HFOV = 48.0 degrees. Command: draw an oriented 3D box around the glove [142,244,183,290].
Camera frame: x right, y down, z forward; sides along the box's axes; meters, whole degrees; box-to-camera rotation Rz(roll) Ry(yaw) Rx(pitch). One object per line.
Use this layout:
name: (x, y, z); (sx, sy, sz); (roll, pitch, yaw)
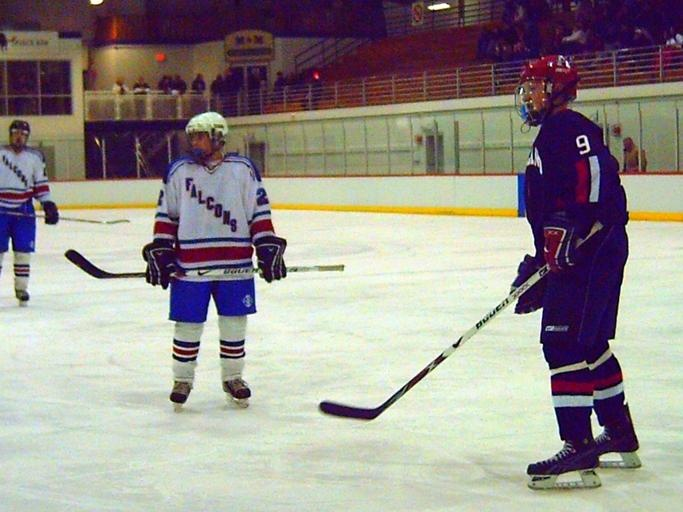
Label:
glove: (-0.984, 0.049, 4.202); (0.208, 0.238, 0.104); (5, 6, -13)

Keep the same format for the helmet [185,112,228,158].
helmet: (-0.761, -0.663, 4.292); (0.276, 0.245, 0.229); (4, -3, -17)

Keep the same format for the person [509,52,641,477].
person: (0.973, 0.039, 3.156); (0.521, 1.745, 0.420); (0, 6, 7)

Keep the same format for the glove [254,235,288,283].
glove: (-0.383, 0.008, 4.158); (0.163, 0.236, 0.193); (-2, 6, -8)

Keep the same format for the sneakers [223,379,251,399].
sneakers: (-0.558, 0.724, 4.160); (0.129, 0.116, 0.200); (-3, 5, -20)

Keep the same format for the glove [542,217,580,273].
glove: (0.846, -0.043, 2.982); (0.099, 0.206, 0.128); (2, 4, -43)

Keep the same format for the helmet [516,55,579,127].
helmet: (0.854, -0.701, 3.319); (0.310, 0.288, 0.239); (-1, -1, 13)

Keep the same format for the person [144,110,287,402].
person: (-0.691, 0.004, 4.181); (0.749, 1.576, 0.442); (-3, 6, -15)

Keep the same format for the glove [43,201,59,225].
glove: (-2.823, -0.411, 7.425); (0.172, 0.260, 0.110); (10, -22, -38)
